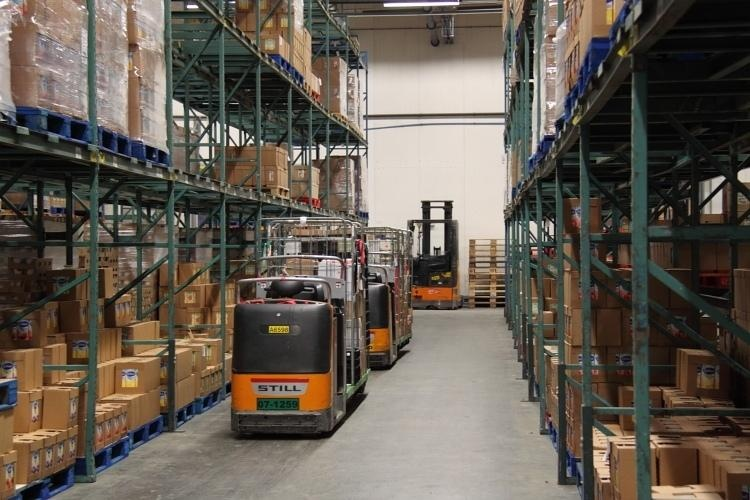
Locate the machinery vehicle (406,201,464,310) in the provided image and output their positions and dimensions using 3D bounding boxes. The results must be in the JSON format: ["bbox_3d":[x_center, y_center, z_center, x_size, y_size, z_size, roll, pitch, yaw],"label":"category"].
[{"bbox_3d":[2.384,0.314,30.295,2.571,4.355,2.642,-5,-10,32],"label":"machinery vehicle"}]

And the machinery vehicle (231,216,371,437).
[{"bbox_3d":[-1.148,1.108,12.935,1.496,3.402,3.855,-2,-2,7],"label":"machinery vehicle"}]

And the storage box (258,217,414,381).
[{"bbox_3d":[-0.645,2.007,17.208,2.550,3.521,5.070,0,-1,4],"label":"storage box"}]
